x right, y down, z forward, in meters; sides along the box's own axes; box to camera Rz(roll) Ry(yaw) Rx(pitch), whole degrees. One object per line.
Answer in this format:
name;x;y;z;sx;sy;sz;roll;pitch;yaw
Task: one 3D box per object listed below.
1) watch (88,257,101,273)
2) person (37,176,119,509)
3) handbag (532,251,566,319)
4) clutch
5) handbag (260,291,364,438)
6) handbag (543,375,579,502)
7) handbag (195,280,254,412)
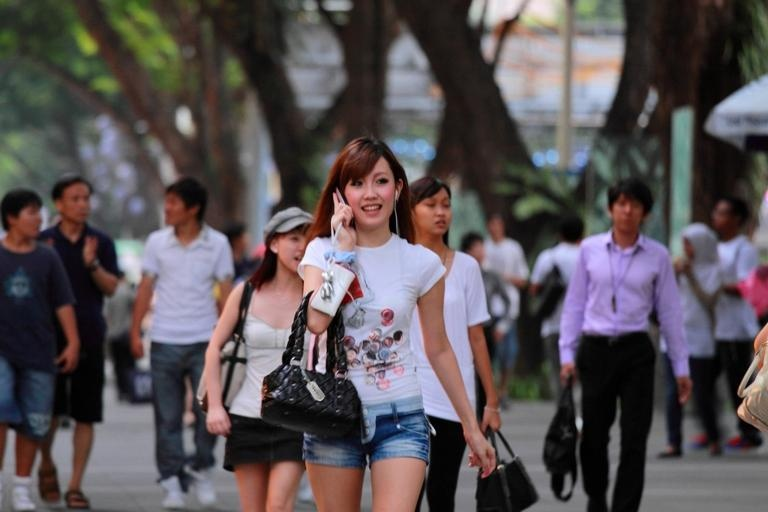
watch;-2.691;0.108;10.194;0.090;0.091;0.118;13;-44;-17
person;-2.781;0.793;10.530;0.922;2.831;1.024;0;1;38
handbag;2.152;0.548;14.420;0.170;0.492;0.632;10;-44;-21
clutch;-0.318;0.189;7.081;0.193;0.412;0.260;11;11;37
handbag;-0.487;0.624;7.308;0.478;1.127;0.602;1;0;-4
handbag;1.502;1.573;9.393;0.323;1.068;0.381;1;-1;-4
handbag;-1.247;0.719;8.630;0.376;0.993;0.749;0;-2;-1
